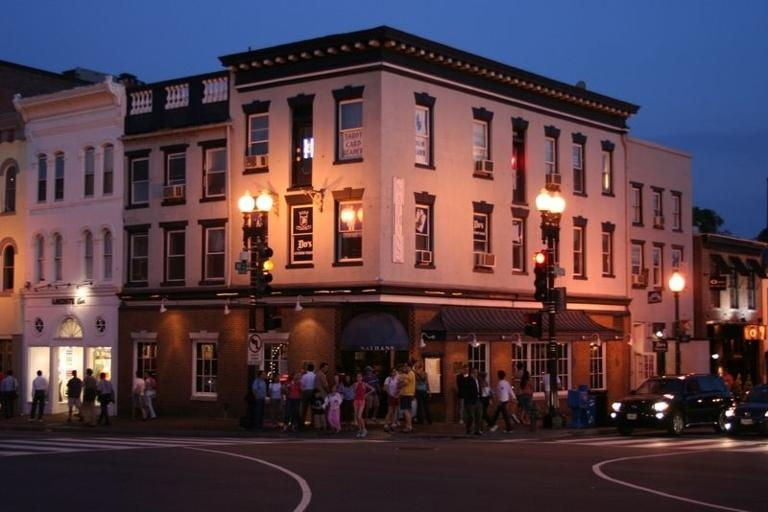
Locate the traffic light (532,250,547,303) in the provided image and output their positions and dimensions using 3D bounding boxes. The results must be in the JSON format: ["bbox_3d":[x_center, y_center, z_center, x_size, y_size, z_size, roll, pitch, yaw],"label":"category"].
[{"bbox_3d":[6.459,0.842,42.657,0.533,1.948,1.000,-3,-14,8],"label":"traffic light"}]

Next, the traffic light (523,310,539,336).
[{"bbox_3d":[6.142,2.812,42.832,0.658,0.955,0.906,-2,-14,5],"label":"traffic light"}]

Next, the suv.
[{"bbox_3d":[12.078,6.368,43.627,5.991,2.269,2.887,-3,4,-29],"label":"suv"}]

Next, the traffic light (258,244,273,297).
[{"bbox_3d":[-4.896,0.555,42.545,0.514,1.958,1.301,2,-14,-9],"label":"traffic light"}]
